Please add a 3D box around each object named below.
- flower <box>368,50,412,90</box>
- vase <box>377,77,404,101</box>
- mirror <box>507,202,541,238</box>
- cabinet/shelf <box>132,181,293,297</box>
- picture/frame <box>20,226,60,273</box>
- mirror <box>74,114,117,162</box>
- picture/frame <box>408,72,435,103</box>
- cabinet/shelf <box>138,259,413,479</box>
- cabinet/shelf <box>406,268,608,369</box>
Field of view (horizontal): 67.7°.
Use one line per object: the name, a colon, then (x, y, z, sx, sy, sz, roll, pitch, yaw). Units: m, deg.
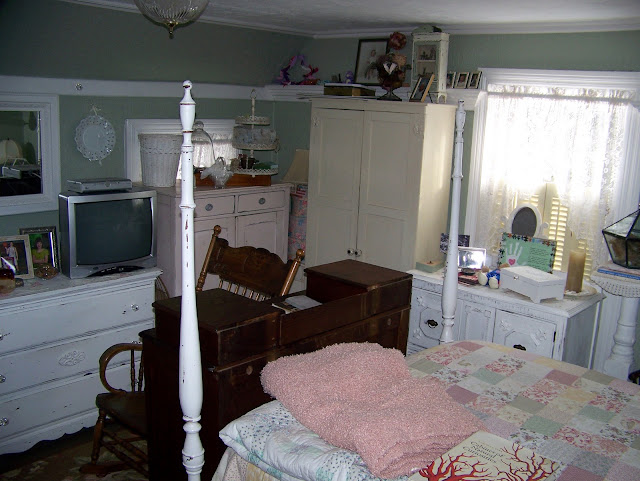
flower: (0.614, -1.488, 4.263, 0.310, 0.308, 0.153, 10, 17, 36)
vase: (0.616, -1.355, 4.309, 0.224, 0.238, 0.242, 16, 30, 33)
mirror: (1.697, -0.157, 3.970, 0.237, 0.296, 0.040, 15, 1, 43)
cabinet/shelf: (-0.917, -0.020, 3.769, 0.359, 0.940, 0.957, 10, 14, 43)
picture/frame: (-2.175, 0.077, 3.684, 0.026, 0.399, 0.344, -8, -4, 34)
mirror: (-1.915, -0.861, 4.045, 0.081, 0.344, 0.336, 6, 1, 38)
picture/frame: (0.882, -1.310, 4.139, 0.207, 0.252, 0.313, 3, 14, 12)
cabinet/shelf: (-0.195, 0.626, 2.284, 0.482, 0.820, 1.162, 14, 21, 42)
cabinet/shelf: (1.437, 0.560, 3.492, 0.711, 0.694, 0.277, 11, 10, 36)
